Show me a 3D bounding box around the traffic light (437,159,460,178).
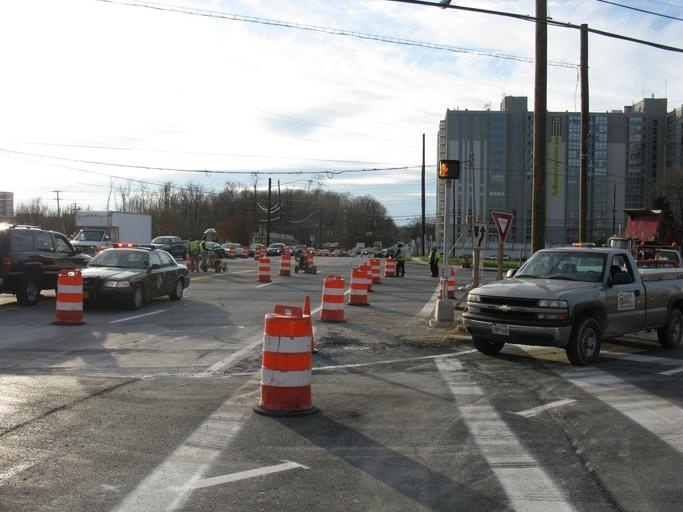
[{"bbox_3d":[2.733,-2.176,17.027,0.511,0.533,1.189,1,4,7],"label":"traffic light"}]
